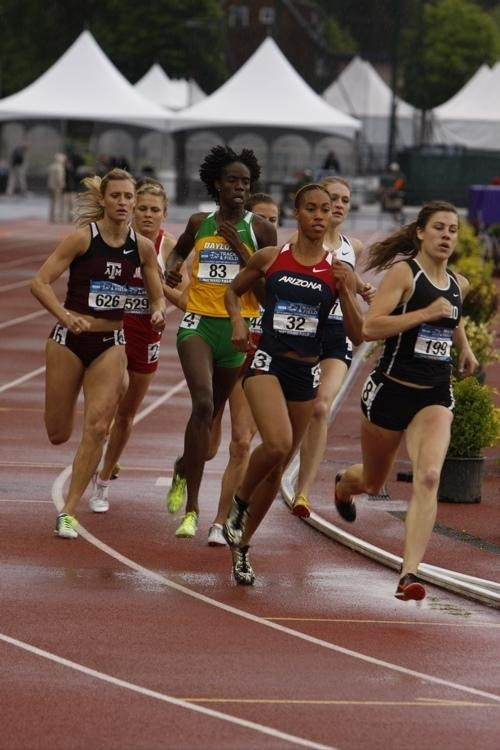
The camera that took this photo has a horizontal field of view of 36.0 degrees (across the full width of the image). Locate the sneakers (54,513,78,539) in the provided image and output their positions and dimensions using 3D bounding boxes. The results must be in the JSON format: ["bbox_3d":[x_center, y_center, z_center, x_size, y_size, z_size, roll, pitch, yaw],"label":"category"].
[{"bbox_3d":[-1.061,0.868,4.419,0.093,0.093,0.238,3,-5,-18],"label":"sneakers"}]

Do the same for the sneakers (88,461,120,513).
[{"bbox_3d":[-0.983,0.799,5.291,0.158,0.407,0.189,8,-20,-23],"label":"sneakers"}]

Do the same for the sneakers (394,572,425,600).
[{"bbox_3d":[0.672,0.895,3.198,0.087,0.067,0.147,-5,-22,2],"label":"sneakers"}]

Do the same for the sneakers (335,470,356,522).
[{"bbox_3d":[0.624,0.833,5.026,0.148,0.362,0.103,-12,24,2],"label":"sneakers"}]
